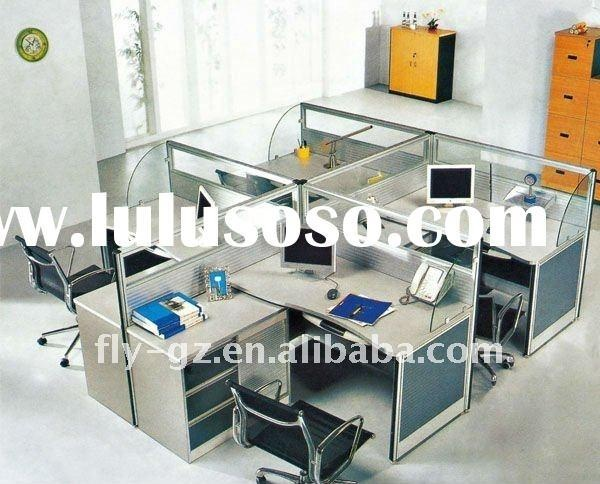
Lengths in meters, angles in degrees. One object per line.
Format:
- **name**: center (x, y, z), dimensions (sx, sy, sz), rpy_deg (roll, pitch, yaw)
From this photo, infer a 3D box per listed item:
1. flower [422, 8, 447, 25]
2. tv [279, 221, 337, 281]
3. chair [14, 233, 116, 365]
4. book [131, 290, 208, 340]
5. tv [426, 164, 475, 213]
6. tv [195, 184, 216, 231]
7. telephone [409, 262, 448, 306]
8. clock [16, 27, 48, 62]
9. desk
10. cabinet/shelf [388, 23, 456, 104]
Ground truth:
- **flower**: center (2.334, -3.976, 10.040), dimensions (0.189, 0.299, 0.301), rpy_deg (-16, 50, -46)
- **tv**: center (0.063, 0.089, 4.146), dimensions (0.385, 0.328, 0.124), rpy_deg (9, 24, 16)
- **chair**: center (-1.970, 0.516, 4.720), dimensions (0.614, 0.811, 0.610), rpy_deg (29, 45, 34)
- **book**: center (-0.877, 0.448, 3.681), dimensions (0.307, 0.072, 0.299), rpy_deg (-23, 35, -40)
- **tv**: center (1.348, -0.468, 5.067), dimensions (0.431, 0.419, 0.150), rpy_deg (0, 19, 3)
- **tv**: center (-0.751, -0.268, 4.522), dimensions (0.028, 0.381, 0.353), rpy_deg (-18, 32, -37)
- **telephone**: center (0.865, 0.287, 3.801), dimensions (0.111, 0.249, 0.256), rpy_deg (-12, 19, -41)
- **clock**: center (-2.801, -2.033, 5.910), dimensions (0.070, 0.345, 0.329), rpy_deg (11, 18, 34)
- **desk**: center (0.385, 0.242, 4.358), dimensions (3.757, 1.974, 2.058), rpy_deg (-8, 17, -31)
- **cabinet/shelf**: center (2.221, -3.166, 10.081), dimensions (1.167, 1.150, 0.487), rpy_deg (26, 43, 35)
